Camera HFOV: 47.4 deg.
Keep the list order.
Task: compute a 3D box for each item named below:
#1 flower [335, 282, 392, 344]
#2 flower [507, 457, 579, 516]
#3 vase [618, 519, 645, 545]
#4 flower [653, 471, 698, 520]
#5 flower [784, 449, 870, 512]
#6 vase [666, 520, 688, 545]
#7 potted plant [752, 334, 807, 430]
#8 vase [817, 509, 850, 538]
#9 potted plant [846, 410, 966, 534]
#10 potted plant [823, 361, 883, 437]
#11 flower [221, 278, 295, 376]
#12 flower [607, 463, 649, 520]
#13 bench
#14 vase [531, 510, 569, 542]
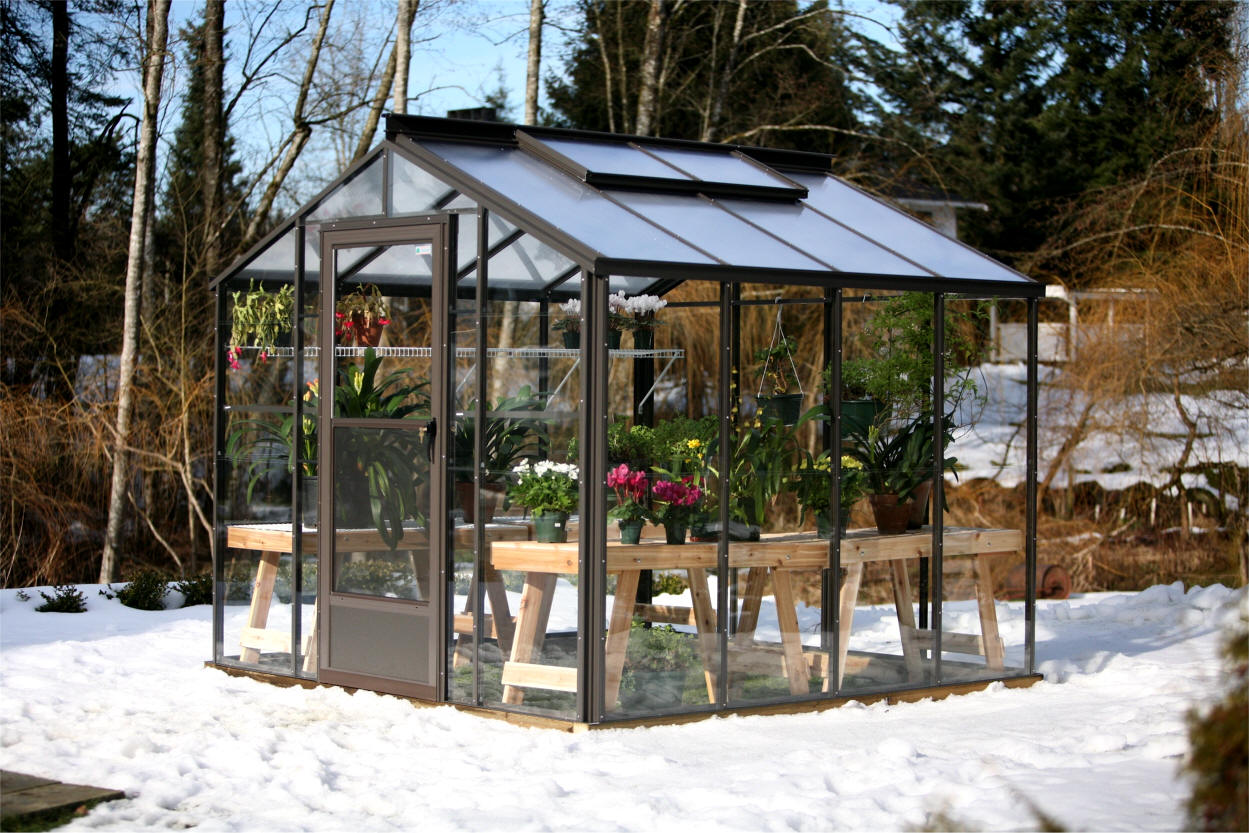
[{"bbox_3d":[-2.383,-0.918,12.967,0.471,0.519,0.118,6,-7,-23],"label":"flower"},{"bbox_3d":[-0.659,0.605,11.937,0.495,0.375,0.447,2,2,44],"label":"flower"},{"bbox_3d":[0.062,0.968,11.914,0.186,0.147,0.192,1,-4,-12],"label":"vase"},{"bbox_3d":[0.454,0.663,12.100,0.339,0.355,0.393,1,4,15],"label":"flower"},{"bbox_3d":[1.803,0.567,12.537,0.521,0.385,0.544,0,2,6],"label":"flower"},{"bbox_3d":[0.447,0.981,12.050,0.171,0.148,0.183,2,-8,-13],"label":"vase"},{"bbox_3d":[1.378,-0.283,12.632,0.549,1.061,0.567,-1,-5,14],"label":"potted plant"},{"bbox_3d":[1.828,0.941,12.488,0.246,0.198,0.224,-2,-4,32],"label":"vase"},{"bbox_3d":[2.505,0.570,12.919,1.029,1.064,1.048,-3,8,-3],"label":"potted plant"},{"bbox_3d":[1.997,-0.143,12.678,0.640,0.670,0.238,-6,9,-36],"label":"potted plant"},{"bbox_3d":[-3.404,-0.816,13.342,0.592,0.864,0.363,-1,-7,18],"label":"flower"},{"bbox_3d":[0.035,0.612,11.944,0.382,0.572,0.457,0,-1,23],"label":"flower"},{"bbox_3d":[-1.500,1.604,12.665,4.741,1.520,0.957,3,8,25],"label":"bench"},{"bbox_3d":[-0.619,0.916,11.961,0.244,0.194,0.253,-1,-6,8],"label":"vase"}]
